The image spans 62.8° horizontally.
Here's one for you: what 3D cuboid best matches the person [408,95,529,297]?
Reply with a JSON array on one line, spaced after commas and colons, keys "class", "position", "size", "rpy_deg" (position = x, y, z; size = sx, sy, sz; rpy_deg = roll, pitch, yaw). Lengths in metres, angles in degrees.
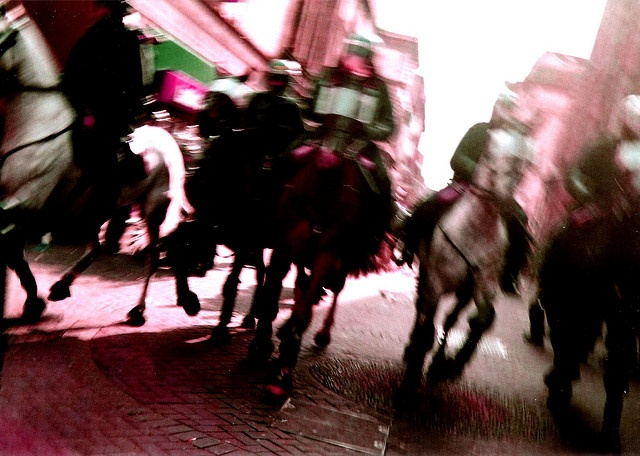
[{"class": "person", "position": [0.845, -0.161, 3.019], "size": [0.433, 0.720, 1.326], "rpy_deg": [17, -33, 4]}]
